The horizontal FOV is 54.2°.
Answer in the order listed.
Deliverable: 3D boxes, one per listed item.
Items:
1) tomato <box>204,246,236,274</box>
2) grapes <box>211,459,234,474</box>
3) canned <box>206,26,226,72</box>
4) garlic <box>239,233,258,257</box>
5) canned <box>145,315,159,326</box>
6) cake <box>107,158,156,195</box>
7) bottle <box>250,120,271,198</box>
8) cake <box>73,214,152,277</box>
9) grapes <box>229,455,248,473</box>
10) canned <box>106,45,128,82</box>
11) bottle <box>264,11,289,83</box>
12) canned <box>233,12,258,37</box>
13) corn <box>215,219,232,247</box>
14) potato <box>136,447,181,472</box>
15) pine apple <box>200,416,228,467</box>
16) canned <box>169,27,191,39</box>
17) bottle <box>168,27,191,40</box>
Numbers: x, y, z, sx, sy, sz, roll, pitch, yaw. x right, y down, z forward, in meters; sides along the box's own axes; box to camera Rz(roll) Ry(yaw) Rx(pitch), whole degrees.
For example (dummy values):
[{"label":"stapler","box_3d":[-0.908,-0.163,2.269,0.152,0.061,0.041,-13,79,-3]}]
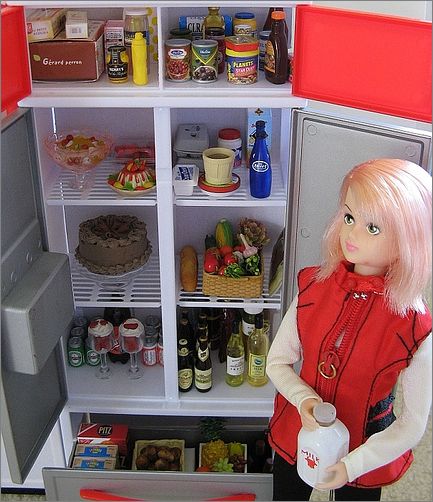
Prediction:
[{"label":"tomato","box_3d":[0.005,0.014,1.532,0.099,0.039,0.099,-2,35,20]},{"label":"grapes","box_3d":[0.022,0.821,1.620,0.083,0.056,0.051,-4,30,-3]},{"label":"canned","box_3d":[0.000,-0.629,1.327,0.070,0.131,0.081,-9,30,-11]},{"label":"garlic","box_3d":[0.116,-0.027,1.552,0.047,0.083,0.033,-35,-11,37]},{"label":"canned","box_3d":[-0.284,0.294,1.820,0.043,0.038,0.042,5,30,5]},{"label":"cake","box_3d":[-0.275,-0.234,1.378,0.145,0.086,0.137,3,28,0]},{"label":"bottle","box_3d":[0.144,-0.279,1.378,0.070,0.191,0.107,1,30,6]},{"label":"cake","box_3d":[-0.381,-0.059,1.530,0.231,0.108,0.217,-3,33,-6]},{"label":"grapes","box_3d":[0.087,0.828,1.646,0.056,0.024,0.054,-1,58,-5]},{"label":"canned","box_3d":[-0.290,-0.542,1.227,0.064,0.097,0.042,-10,31,-13]},{"label":"bottle","box_3d":[0.173,-0.581,1.213,0.058,0.185,0.067,-3,30,-1]},{"label":"canned","box_3d":[0.091,-0.711,1.325,0.074,0.096,0.093,1,28,3]},{"label":"corn","box_3d":[0.023,-0.068,1.639,0.054,0.107,0.046,-4,-14,3]},{"label":"potato","box_3d":[-0.226,0.803,1.629,0.112,0.035,0.119,2,17,-1]},{"label":"pine apple","box_3d":[-0.033,0.784,1.692,0.062,0.061,0.137,-30,43,26]},{"label":"canned","box_3d":[-0.120,-0.695,1.342,0.055,0.049,0.054,1,31,0]},{"label":"bottle","box_3d":[-0.125,-0.699,1.337,0.054,0.044,0.053,2,31,3]}]
